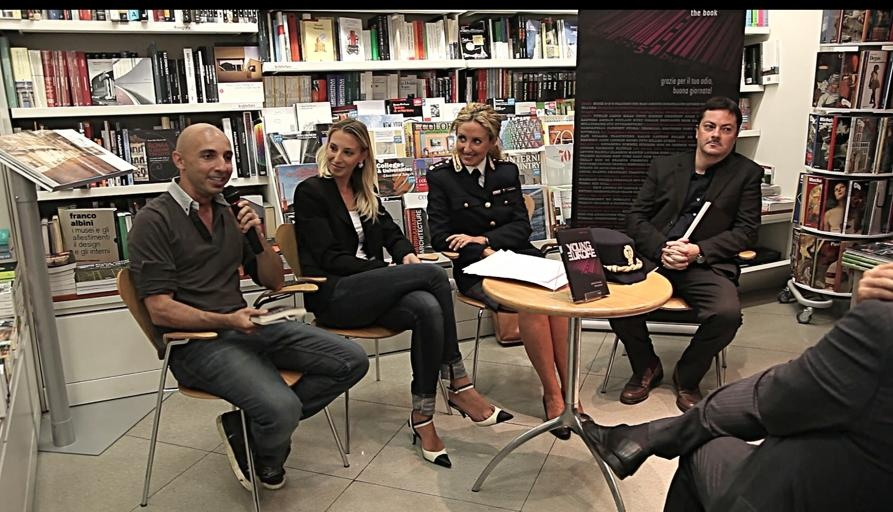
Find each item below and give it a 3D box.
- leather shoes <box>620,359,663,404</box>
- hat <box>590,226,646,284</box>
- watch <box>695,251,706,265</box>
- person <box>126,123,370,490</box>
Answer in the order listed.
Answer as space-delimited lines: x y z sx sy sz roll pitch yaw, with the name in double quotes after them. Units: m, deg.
1.428 0.878 3.945 0.500 0.181 0.184 -22 16 -38 "leather shoes"
0.941 0.013 3.146 0.396 0.115 0.294 26 40 33 "hat"
1.788 0.019 3.815 0.072 0.067 0.083 -2 16 -7 "watch"
-1.101 0.317 2.978 0.869 2.043 0.730 8 19 33 "person"
